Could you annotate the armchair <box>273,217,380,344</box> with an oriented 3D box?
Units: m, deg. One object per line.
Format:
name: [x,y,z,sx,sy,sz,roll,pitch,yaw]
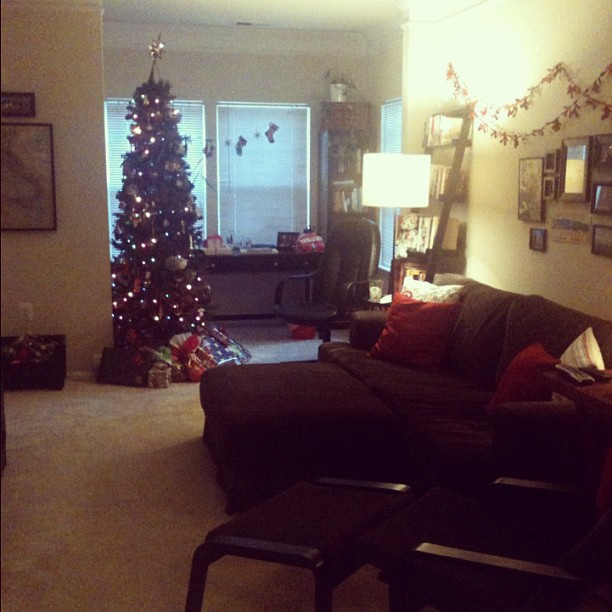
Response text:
armchair: [0.124,-0.130,3.339,0.636,0.772,0.529,-4,7,-38]

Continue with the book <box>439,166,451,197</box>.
book: [0.679,-0.603,2.795,0.049,0.141,0.079,1,10,13]

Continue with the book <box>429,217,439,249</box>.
book: [0.634,-0.357,2.812,0.049,0.147,0.031,-9,13,-39]

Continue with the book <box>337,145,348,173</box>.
book: [0.231,-0.929,3.637,0.060,0.167,0.096,-1,10,2]

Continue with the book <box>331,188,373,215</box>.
book: [0.288,-0.627,3.740,0.157,0.233,0.222,1,3,-4]
